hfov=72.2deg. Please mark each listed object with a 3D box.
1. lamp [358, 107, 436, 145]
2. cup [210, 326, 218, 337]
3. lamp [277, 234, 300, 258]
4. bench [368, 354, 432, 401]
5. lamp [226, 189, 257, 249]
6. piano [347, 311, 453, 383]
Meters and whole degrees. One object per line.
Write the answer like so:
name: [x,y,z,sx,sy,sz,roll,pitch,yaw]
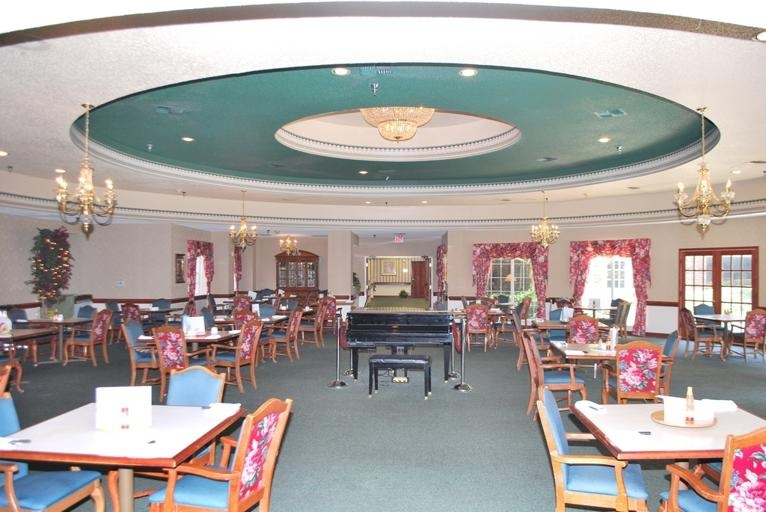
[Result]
lamp: [0.246,-2.320,9.186,1.248,0.442,0.703,-2,-3,2]
cup: [-3.126,1.415,9.720,0.171,0.210,0.149,9,-18,-27]
lamp: [-3.760,-0.409,21.026,0.816,0.791,0.919,-1,-6,18]
bench: [0.320,1.977,9.424,1.364,0.712,0.700,0,3,5]
lamp: [-3.949,-0.981,14.817,0.904,1.525,0.826,-3,8,-38]
piano: [0.407,1.501,10.351,2.316,1.174,1.424,0,-8,1]
